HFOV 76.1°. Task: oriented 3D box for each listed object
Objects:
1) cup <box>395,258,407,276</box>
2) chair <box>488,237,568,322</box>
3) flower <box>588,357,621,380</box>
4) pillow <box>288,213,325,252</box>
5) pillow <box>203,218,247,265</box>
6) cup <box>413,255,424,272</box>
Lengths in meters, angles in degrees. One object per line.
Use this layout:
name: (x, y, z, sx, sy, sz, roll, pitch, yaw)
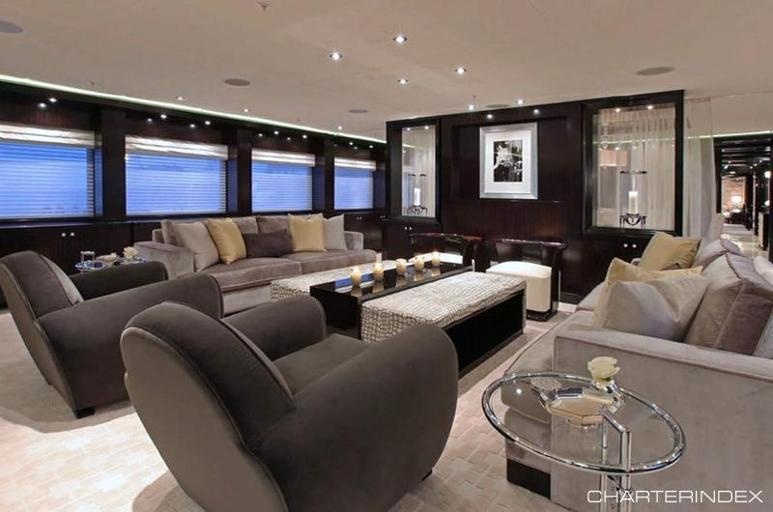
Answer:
cup: (0.164, 0.120, 5.044, 0.147, 0.183, 0.145, -1, 3, 0)
chair: (1.665, 0.179, 6.108, 1.095, 0.966, 1.011, 0, 1, 45)
flower: (1.060, 0.538, 2.407, 0.153, 0.076, 0.144, 5, 8, 20)
pillow: (-1.093, -0.295, 6.763, 0.520, 0.523, 0.187, 0, -18, -30)
pillow: (-1.931, -0.149, 5.887, 0.224, 0.398, 0.495, -5, 10, 2)
cup: (0.346, 0.082, 5.193, 0.134, 0.199, 0.137, 1, 3, 0)
